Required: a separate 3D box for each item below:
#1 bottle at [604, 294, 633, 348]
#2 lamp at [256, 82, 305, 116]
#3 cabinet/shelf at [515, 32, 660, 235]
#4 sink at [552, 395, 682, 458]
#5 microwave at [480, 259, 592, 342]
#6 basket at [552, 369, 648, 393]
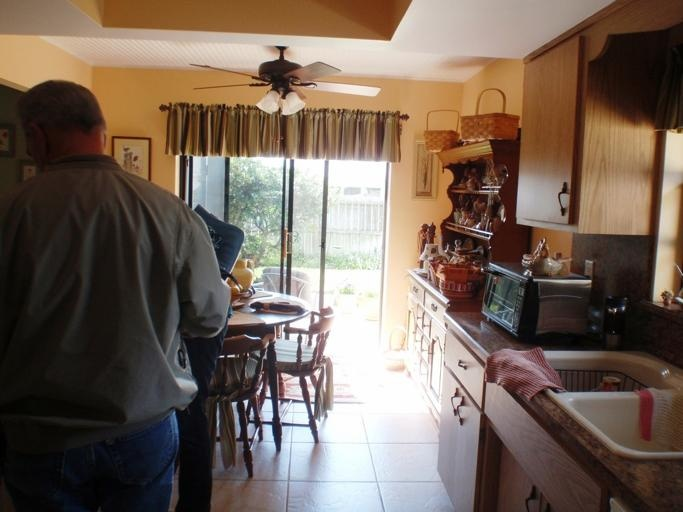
[{"bbox_3d":[1.311,0.321,2.482,0.087,0.235,0.075,5,10,21],"label":"bottle"},{"bbox_3d":[-0.396,-1.065,3.623,0.330,0.236,0.318,-4,10,-40],"label":"lamp"},{"bbox_3d":[1.177,-0.589,2.526,0.665,0.933,0.408,8,11,34],"label":"cabinet/shelf"},{"bbox_3d":[1.022,0.594,1.869,0.254,0.116,0.305,0,3,-6],"label":"sink"},{"bbox_3d":[1.064,0.195,2.731,0.340,0.292,0.437,4,6,-5],"label":"microwave"},{"bbox_3d":[1.164,0.566,2.330,0.237,0.089,0.163,-3,10,-7],"label":"basket"}]
